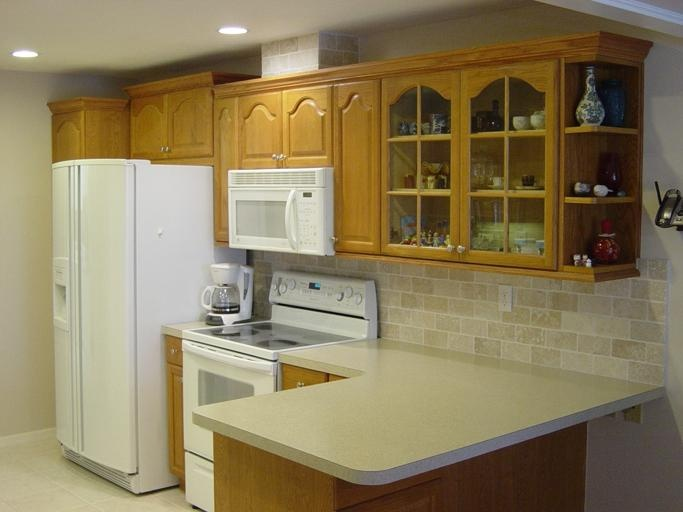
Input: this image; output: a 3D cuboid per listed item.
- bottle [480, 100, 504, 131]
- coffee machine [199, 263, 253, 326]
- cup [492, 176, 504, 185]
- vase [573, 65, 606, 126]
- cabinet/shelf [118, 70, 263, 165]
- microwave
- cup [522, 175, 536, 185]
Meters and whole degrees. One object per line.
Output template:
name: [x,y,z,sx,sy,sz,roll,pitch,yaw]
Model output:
bottle: [0.731,-0.672,2.603,0.016,0.151,0.103,-4,5,-44]
coffee machine: [-0.801,0.275,3.905,0.459,0.498,0.286,2,-2,-41]
cup: [0.754,-0.351,2.609,0.051,0.050,0.036,2,4,36]
vase: [1.091,-0.703,2.386,0.108,0.294,0.151,2,5,31]
cabinet/shelf: [-1.261,-1.031,4.351,1.054,0.653,0.406,4,5,35]
microwave: [-0.356,-0.301,3.539,0.517,0.642,0.985,-1,2,-44]
cup: [0.864,-0.349,2.507,0.044,0.042,0.044,1,3,0]
